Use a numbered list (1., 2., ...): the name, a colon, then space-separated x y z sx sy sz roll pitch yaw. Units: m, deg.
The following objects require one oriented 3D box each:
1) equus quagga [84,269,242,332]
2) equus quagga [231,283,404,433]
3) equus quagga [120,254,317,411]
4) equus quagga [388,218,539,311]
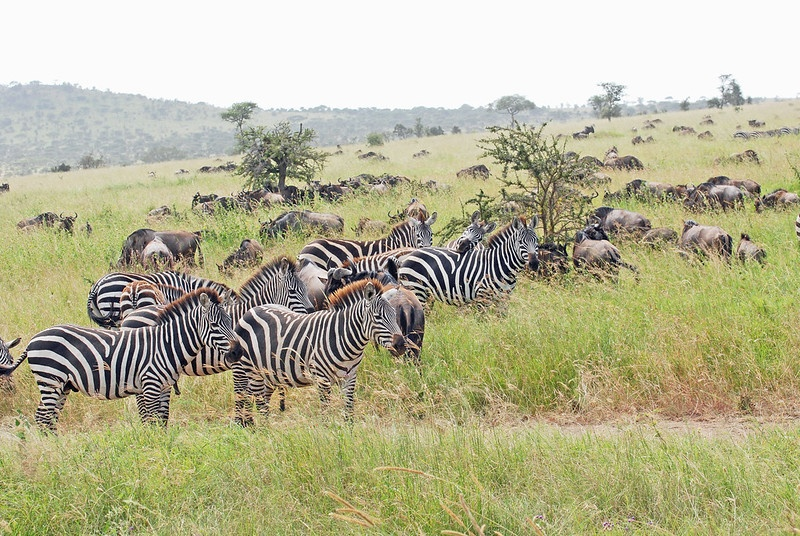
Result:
1. equus quagga: -3.949 0.571 14.405 2.634 1.414 0.690 -3 11 -12
2. equus quagga: -1.343 1.322 13.138 2.647 2.183 0.442 -2 3 12
3. equus quagga: -3.122 1.084 14.532 3.516 2.499 0.996 -2 -16 16
4. equus quagga: 1.251 0.141 16.254 3.009 1.992 0.921 -4 14 -7
